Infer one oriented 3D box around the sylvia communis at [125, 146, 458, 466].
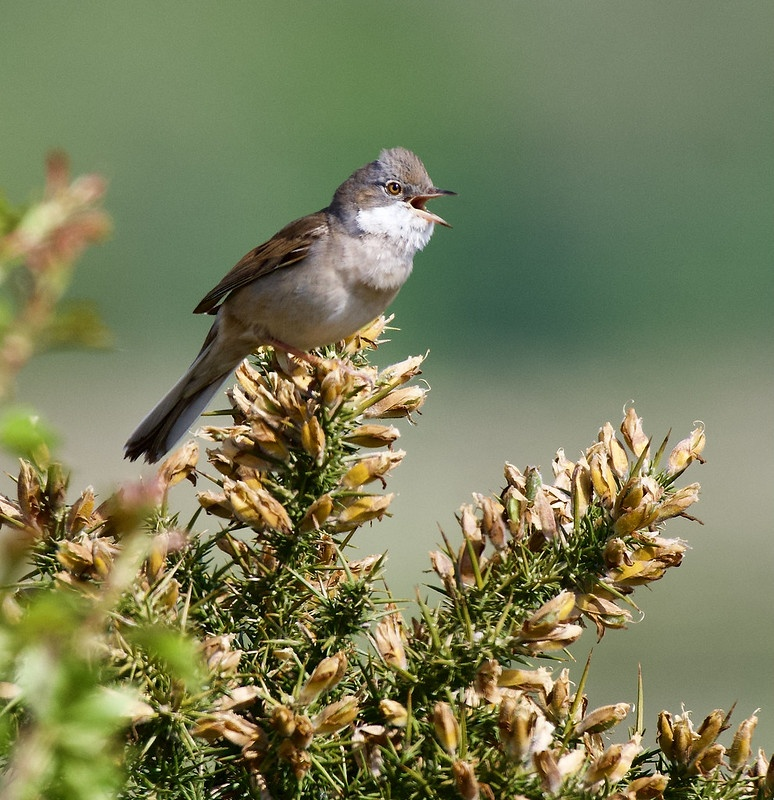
[{"bbox_3d":[-0.165,-0.188,2.158,0.743,0.347,0.242,-16,-25,32],"label":"sylvia communis"}]
